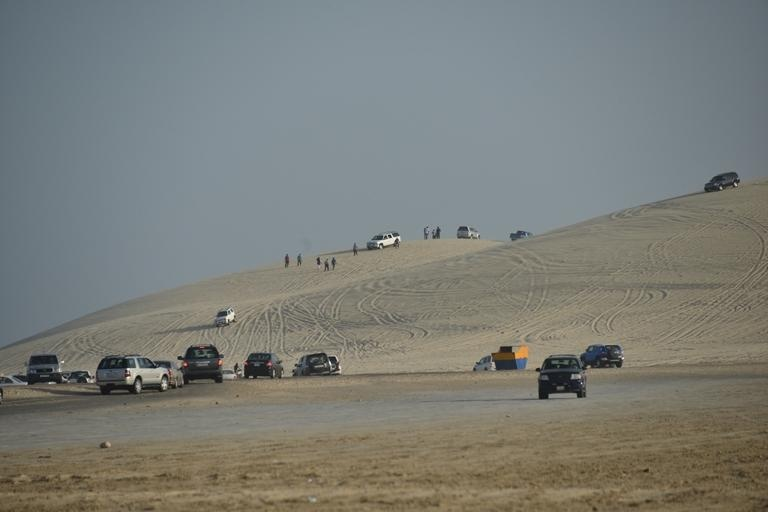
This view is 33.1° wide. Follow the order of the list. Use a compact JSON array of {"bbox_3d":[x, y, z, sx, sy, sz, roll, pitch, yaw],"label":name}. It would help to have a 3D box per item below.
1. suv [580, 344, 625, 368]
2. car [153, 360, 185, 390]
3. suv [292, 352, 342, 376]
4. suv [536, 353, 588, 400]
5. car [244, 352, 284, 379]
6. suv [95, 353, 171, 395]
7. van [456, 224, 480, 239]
[{"bbox_3d":[10.787,4.954,64.690,1.639,1.237,2.781,-1,4,-42],"label":"suv"},{"bbox_3d":[-9.540,5.169,57.399,0.817,0.687,1.926,0,2,4],"label":"car"},{"bbox_3d":[-3.365,5.393,64.607,1.255,0.888,2.140,0,3,-7],"label":"suv"},{"bbox_3d":[6.863,4.665,50.169,1.853,1.532,1.116,-2,3,6],"label":"suv"},{"bbox_3d":[-5.850,5.275,63.289,1.038,0.838,1.908,0,1,8],"label":"car"},{"bbox_3d":[-10.742,4.968,55.226,1.521,1.189,2.733,0,3,33],"label":"suv"},{"bbox_3d":[7.675,-2.221,121.325,1.274,1.227,2.328,-1,3,30],"label":"van"}]
